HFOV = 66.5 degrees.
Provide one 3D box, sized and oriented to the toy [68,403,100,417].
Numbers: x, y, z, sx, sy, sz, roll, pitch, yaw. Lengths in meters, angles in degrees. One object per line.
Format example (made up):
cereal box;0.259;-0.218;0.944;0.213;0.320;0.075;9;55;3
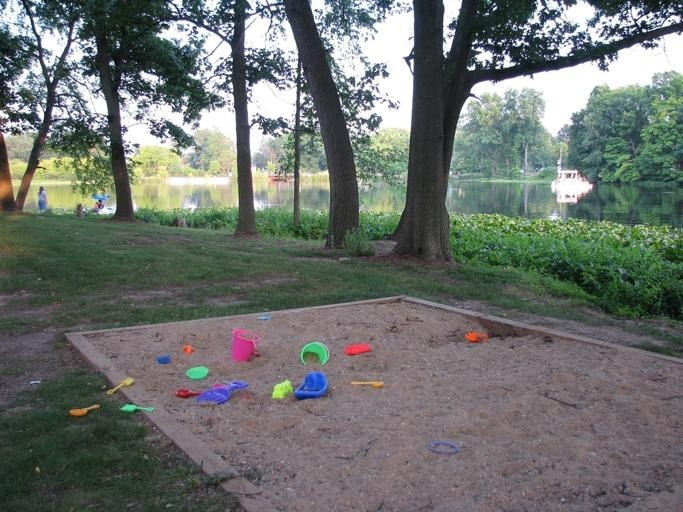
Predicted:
toy;-2.748;1.655;5.565;0.113;0.058;0.198;7;4;39

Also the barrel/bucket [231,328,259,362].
barrel/bucket;-1.243;1.171;6.666;0.375;0.348;0.368;18;5;-2

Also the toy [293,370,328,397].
toy;-0.323;1.470;5.954;0.375;0.155;0.467;3;14;4

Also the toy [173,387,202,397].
toy;-1.736;1.558;5.889;0.186;0.055;0.118;10;3;-12

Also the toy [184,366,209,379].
toy;-1.735;1.411;6.290;0.276;0.067;0.250;2;14;0

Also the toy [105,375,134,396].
toy;-2.528;1.496;5.976;0.120;0.043;0.239;15;24;31

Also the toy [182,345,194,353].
toy;-2.011;1.221;6.815;0.083;0.074;0.098;1;-4;-8

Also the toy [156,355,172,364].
toy;-2.254;1.301;6.603;0.185;0.058;0.274;-4;15;-21

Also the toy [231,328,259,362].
toy;-1.246;1.177;6.669;0.386;0.351;0.378;16;7;-24

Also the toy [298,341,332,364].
toy;-0.335;1.212;6.594;0.383;0.214;0.339;1;13;-2

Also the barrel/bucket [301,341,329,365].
barrel/bucket;-0.343;1.213;6.587;0.388;0.214;0.303;3;13;5

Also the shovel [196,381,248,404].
shovel;-1.361;1.529;5.906;0.349;0.113;0.529;13;18;39

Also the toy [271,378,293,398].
toy;-0.664;1.431;5.856;0.134;0.214;0.261;2;9;45
